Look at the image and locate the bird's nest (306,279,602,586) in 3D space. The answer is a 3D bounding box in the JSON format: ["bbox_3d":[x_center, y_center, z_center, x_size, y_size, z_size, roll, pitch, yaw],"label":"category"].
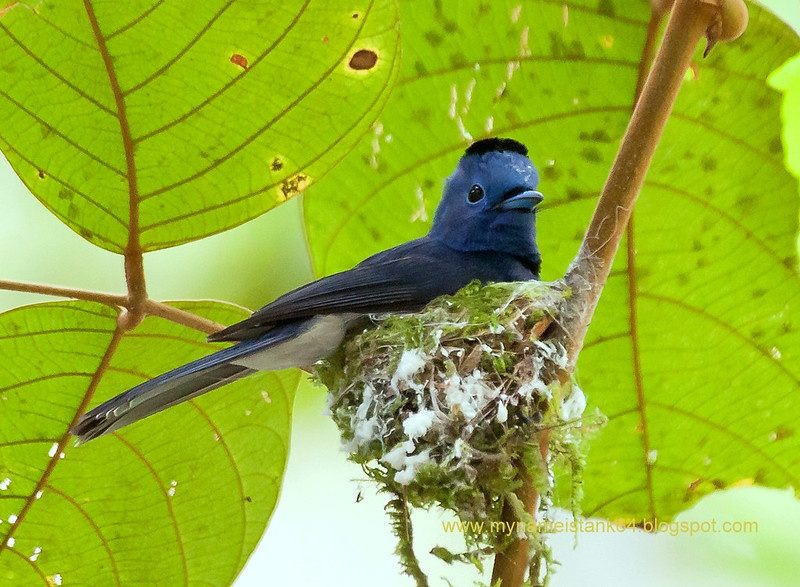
[{"bbox_3d":[0.316,0.436,3.526,0.998,1.084,0.534,14,-28,25],"label":"bird's nest"}]
